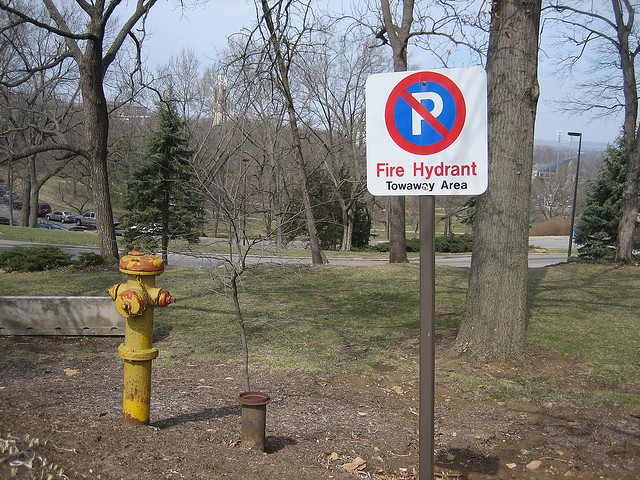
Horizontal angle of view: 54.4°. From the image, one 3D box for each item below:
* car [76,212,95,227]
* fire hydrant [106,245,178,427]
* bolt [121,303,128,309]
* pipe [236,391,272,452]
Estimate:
[{"bbox_3d":[-19.930,-1.756,52.874,1.439,1.085,1.853,-2,10,-20],"label":"car"},{"bbox_3d":[-2.094,1.118,7.327,0.575,2.129,0.594,-6,12,-37],"label":"fire hydrant"},{"bbox_3d":[-2.241,0.759,7.149,0.046,0.066,0.060,5,7,5],"label":"bolt"},{"bbox_3d":[-0.771,2.148,7.253,0.399,0.683,0.378,2,9,1],"label":"pipe"}]
